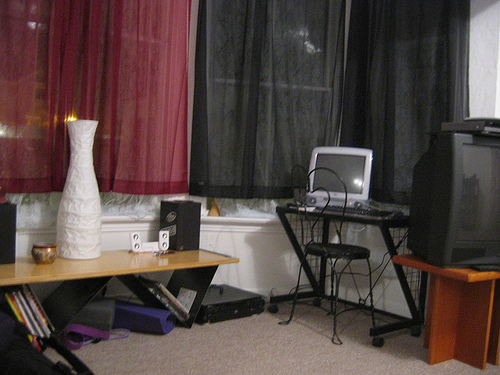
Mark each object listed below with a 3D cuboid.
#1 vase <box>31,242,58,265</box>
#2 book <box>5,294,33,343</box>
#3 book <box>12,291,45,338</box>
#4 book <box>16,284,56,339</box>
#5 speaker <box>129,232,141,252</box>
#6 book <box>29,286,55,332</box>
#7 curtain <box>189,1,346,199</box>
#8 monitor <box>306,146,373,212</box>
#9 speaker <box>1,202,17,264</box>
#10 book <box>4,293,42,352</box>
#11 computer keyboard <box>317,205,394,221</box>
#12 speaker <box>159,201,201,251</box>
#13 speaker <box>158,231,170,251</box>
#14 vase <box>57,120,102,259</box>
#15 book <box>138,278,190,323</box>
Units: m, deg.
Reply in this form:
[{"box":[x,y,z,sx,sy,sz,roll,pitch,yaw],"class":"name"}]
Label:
[{"box":[-1.330,0.420,2.728,0.146,0.123,0.182,0,7,-25],"class":"vase"},{"box":[-1.338,0.757,2.416,0.040,0.305,0.041,-29,4,0],"class":"book"},{"box":[-1.333,0.762,2.552,0.054,0.228,0.214,-28,38,-18],"class":"book"},{"box":[-1.281,0.732,2.601,0.068,0.305,0.223,-23,-9,-21],"class":"book"},{"box":[-0.837,0.396,3.077,0.074,0.139,0.049,-1,7,-25],"class":"speaker"},{"box":[-1.339,0.786,2.703,0.039,0.297,0.038,-25,2,5],"class":"book"},{"box":[0.093,-0.743,3.585,1.598,2.353,0.170,0,5,-12],"class":"curtain"},{"box":[0.699,-0.077,3.303,0.501,0.482,0.357,4,7,15],"class":"monitor"},{"box":[-1.527,0.287,2.658,0.082,0.381,0.064,0,7,-22],"class":"speaker"},{"box":[-1.356,0.804,2.484,0.201,0.360,0.121,3,7,3],"class":"book"},{"box":[0.770,0.182,3.102,0.545,0.072,0.299,6,7,25],"class":"computer keyboard"},{"box":[-0.534,0.285,3.346,0.329,0.368,0.347,4,0,9],"class":"speaker"},{"box":[-0.650,0.397,3.159,0.076,0.135,0.060,0,7,-19],"class":"speaker"},{"box":[-1.158,0.008,2.847,0.279,0.926,0.224,0,7,-19],"class":"vase"},{"box":[-0.618,0.820,3.028,0.366,0.088,0.107,41,29,17],"class":"book"}]
